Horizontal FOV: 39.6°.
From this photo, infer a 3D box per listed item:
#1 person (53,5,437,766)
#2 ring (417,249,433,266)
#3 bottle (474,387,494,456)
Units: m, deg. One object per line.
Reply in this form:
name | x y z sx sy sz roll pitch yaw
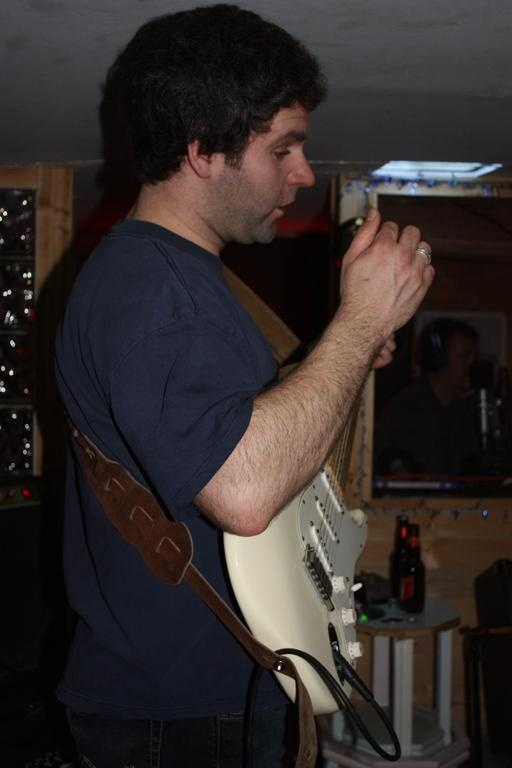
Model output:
person | -0.049 0.023 0.909 0.421 1.031 0.411 -6 6 -44
ring | 0.211 -0.162 0.914 0.021 0.013 0.017 49 17 30
bottle | 0.758 0.129 2.408 0.063 0.214 0.057 -7 4 2
